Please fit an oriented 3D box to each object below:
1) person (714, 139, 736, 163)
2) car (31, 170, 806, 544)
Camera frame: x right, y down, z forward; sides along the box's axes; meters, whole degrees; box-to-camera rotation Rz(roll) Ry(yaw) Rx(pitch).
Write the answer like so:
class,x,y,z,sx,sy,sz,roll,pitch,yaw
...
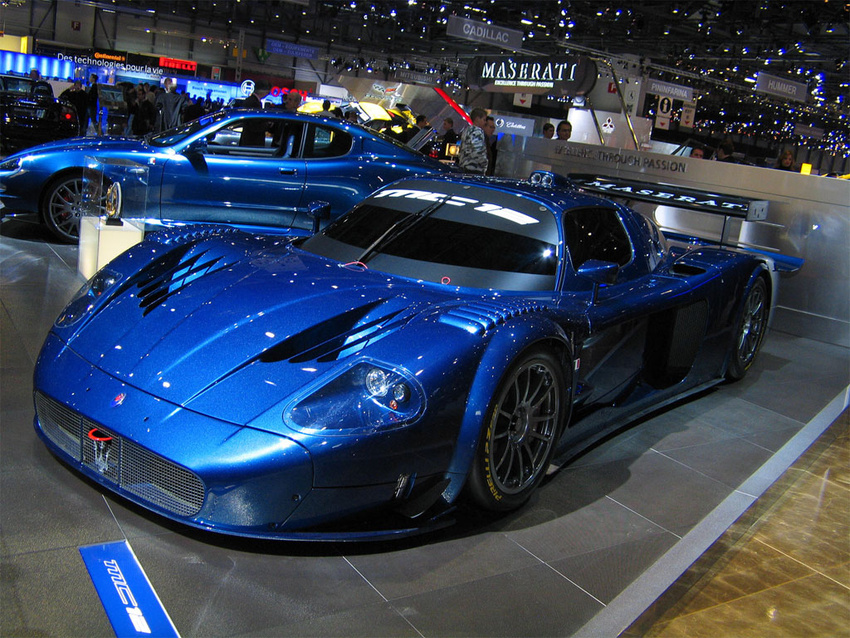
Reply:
class,x,y,z,sx,sy,sz,roll,pitch,yaw
person,4.982,-2.807,9.659,0.258,0.388,1.127,14,16,24
car,0.233,0.099,3.041,3.274,0.913,1.929,-9,23,-39
